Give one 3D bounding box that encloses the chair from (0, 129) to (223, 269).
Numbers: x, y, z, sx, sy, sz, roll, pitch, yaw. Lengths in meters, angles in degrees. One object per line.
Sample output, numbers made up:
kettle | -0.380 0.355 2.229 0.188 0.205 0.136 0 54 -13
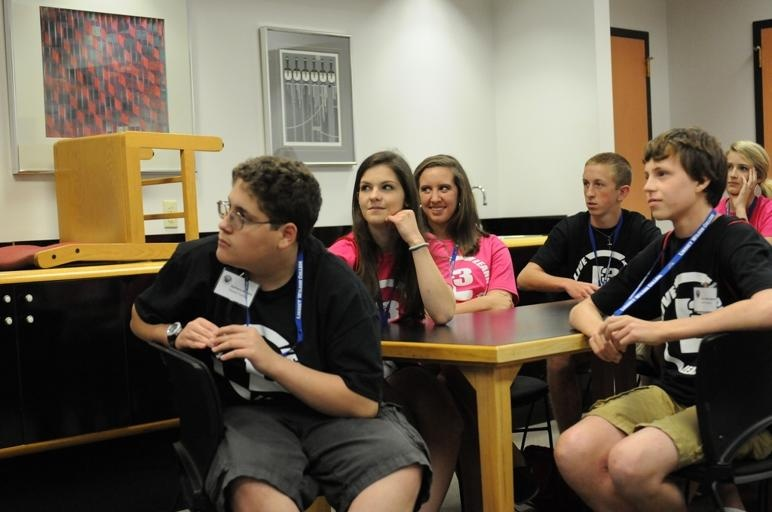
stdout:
chair | -1.414 -0.303 3.062 0.682 0.693 0.995 1 1 40
